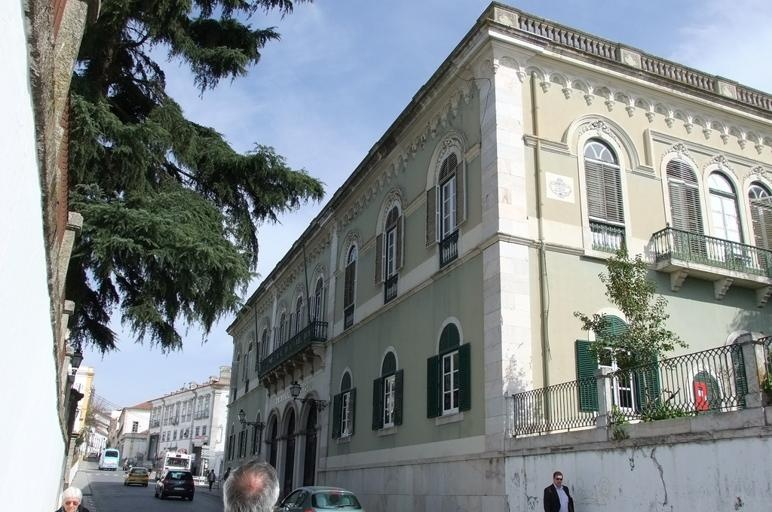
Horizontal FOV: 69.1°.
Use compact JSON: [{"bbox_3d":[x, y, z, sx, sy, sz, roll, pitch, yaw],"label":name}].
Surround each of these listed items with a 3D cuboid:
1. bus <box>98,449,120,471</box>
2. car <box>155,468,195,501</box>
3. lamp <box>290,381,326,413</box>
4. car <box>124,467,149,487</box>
[{"bbox_3d":[-38.997,28.918,79.523,2.627,2.782,5.285,12,-33,-28],"label":"bus"},{"bbox_3d":[-13.482,14.666,36.041,1.585,1.358,2.714,9,-24,-20],"label":"car"},{"bbox_3d":[-4.110,6.886,27.852,0.878,1.563,4.015,4,-8,-19],"label":"lamp"},{"bbox_3d":[-21.594,19.084,48.665,1.776,1.542,1.814,14,-29,-26],"label":"car"}]
